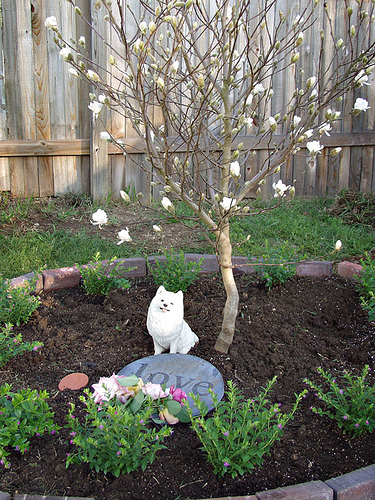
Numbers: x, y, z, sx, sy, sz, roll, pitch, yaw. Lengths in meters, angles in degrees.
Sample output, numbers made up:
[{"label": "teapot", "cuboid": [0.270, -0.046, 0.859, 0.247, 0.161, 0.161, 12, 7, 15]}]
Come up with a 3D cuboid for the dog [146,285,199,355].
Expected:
[{"label": "dog", "cuboid": [-0.077, 0.423, 2.351, 0.263, 0.400, 0.411, 6, 3, 29]}]
